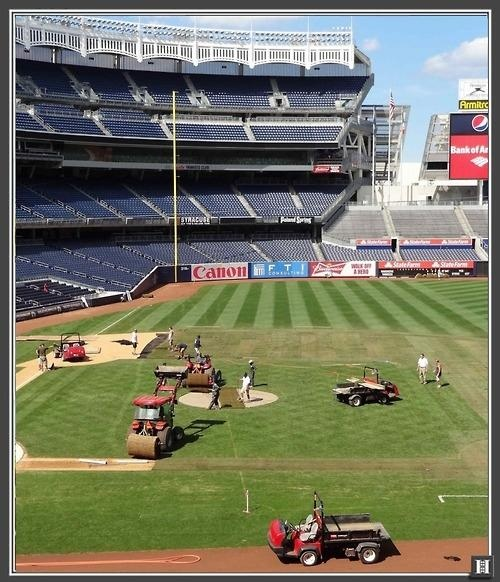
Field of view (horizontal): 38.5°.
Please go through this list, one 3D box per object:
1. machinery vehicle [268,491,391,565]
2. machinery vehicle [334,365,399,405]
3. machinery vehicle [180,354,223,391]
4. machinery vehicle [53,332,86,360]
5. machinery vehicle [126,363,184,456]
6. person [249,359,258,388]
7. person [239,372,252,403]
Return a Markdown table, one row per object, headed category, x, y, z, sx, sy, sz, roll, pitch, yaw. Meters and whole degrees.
| category | x | y | z | sx | sy | sz | roll | pitch | yaw |
| --- | --- | --- | --- | --- | --- | --- | --- | --- | --- |
| machinery vehicle | 1.155 | 3.733 | 11.078 | 2.154 | 0.956 | 1.131 | 0 | 2 | -4 |
| machinery vehicle | 3.343 | 2.776 | 21.022 | 1.923 | 0.852 | 1.216 | -3 | 7 | -21 |
| machinery vehicle | -1.549 | 2.656 | 22.444 | 0.852 | 0.811 | 1.422 | -1 | -4 | 4 |
| machinery vehicle | -6.988 | 2.235 | 27.537 | 1.170 | 0.795 | 1.764 | 0 | 11 | -15 |
| machinery vehicle | -2.606 | 2.982 | 17.333 | 1.023 | 1.439 | 2.495 | 0 | 5 | 12 |
| person | 0.082 | 2.745 | 23.657 | 0.311 | 0.860 | 0.951 | 1 | 0 | 9 |
| person | -0.204 | 2.796 | 20.976 | 0.269 | 0.898 | 0.567 | -6 | -18 | 39 |
